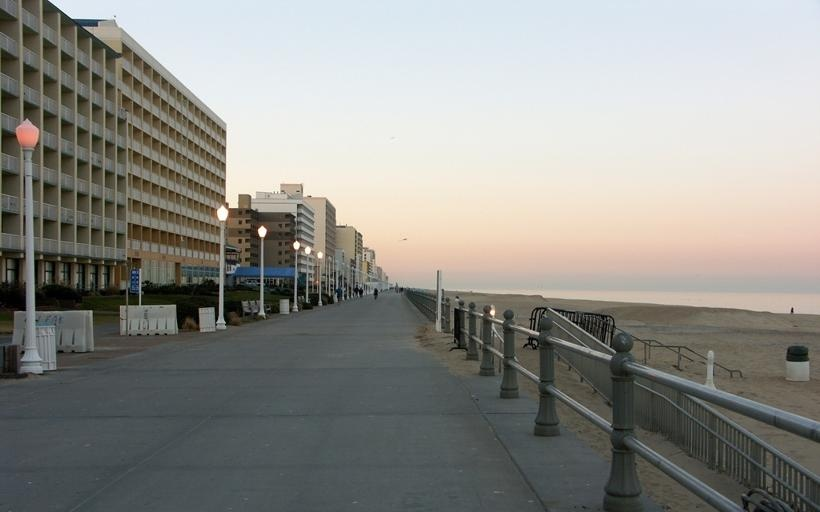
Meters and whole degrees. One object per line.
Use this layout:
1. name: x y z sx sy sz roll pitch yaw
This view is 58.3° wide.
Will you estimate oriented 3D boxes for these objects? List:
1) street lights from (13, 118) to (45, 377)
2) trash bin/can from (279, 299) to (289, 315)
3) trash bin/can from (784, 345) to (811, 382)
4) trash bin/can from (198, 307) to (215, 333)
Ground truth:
1. street lights: -9.807 -1.056 18.873 0.654 4.740 0.613 0 1 -28
2. trash bin/can: -8.012 3.316 47.090 0.858 0.944 0.853 0 0 -34
3. trash bin/can: 12.046 3.389 22.991 0.651 1.094 0.858 -5 -5 25
4. trash bin/can: -8.448 2.674 30.525 0.608 0.958 0.605 -2 -5 -19
